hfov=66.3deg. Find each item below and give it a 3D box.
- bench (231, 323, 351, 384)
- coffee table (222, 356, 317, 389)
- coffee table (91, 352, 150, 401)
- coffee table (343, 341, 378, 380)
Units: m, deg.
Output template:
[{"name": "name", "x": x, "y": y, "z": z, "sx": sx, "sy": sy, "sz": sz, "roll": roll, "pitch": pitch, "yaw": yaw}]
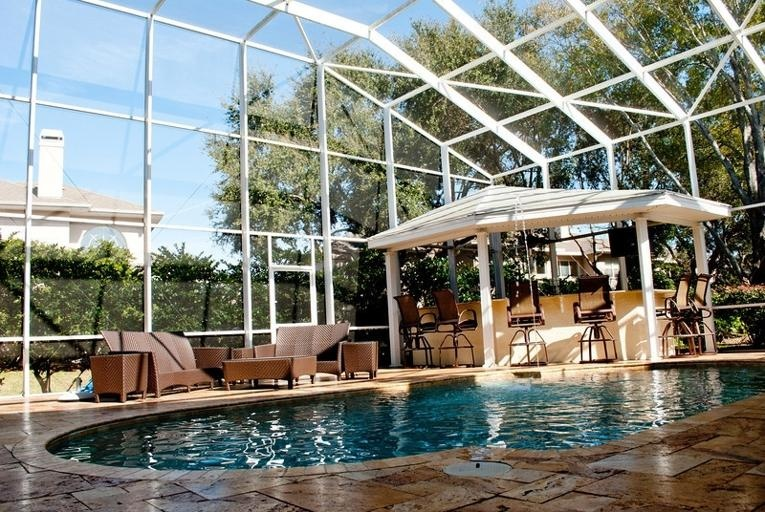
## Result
[{"name": "bench", "x": -1.680, "y": 1.819, "z": 10.897, "sx": 1.342, "sy": 0.832, "sz": 1.750, "roll": -6, "pitch": -14, "yaw": 19}, {"name": "coffee table", "x": -2.006, "y": 2.065, "z": 10.330, "sx": 1.552, "sy": 0.541, "sz": 0.558, "roll": -3, "pitch": -9, "yaw": 1}, {"name": "coffee table", "x": -4.294, "y": 2.007, "z": 9.597, "sx": 0.899, "sy": 0.652, "sz": 0.872, "roll": 2, "pitch": -12, "yaw": -33}, {"name": "coffee table", "x": -0.336, "y": 2.049, "z": 11.473, "sx": 0.728, "sy": 0.646, "sz": 0.701, "roll": -4, "pitch": -10, "yaw": 14}]
